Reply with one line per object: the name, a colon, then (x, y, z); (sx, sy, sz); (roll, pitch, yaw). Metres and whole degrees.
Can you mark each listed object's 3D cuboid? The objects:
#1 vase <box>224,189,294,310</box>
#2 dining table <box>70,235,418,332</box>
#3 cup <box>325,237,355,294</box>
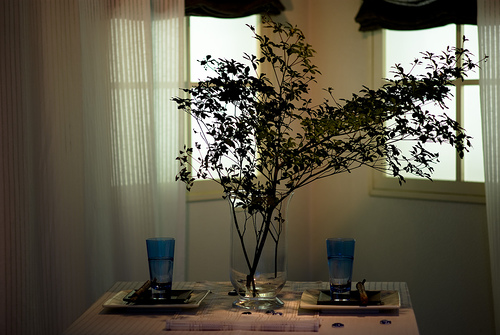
vase: (0.042, 0.391, 2.113); (0.323, 0.477, 0.320); (-10, -22, 33)
dining table: (0.011, 0.472, 2.047); (1.474, 0.339, 0.531); (0, 9, 4)
cup: (0.405, 0.439, 2.041); (0.118, 0.270, 0.121); (-1, 9, 0)
